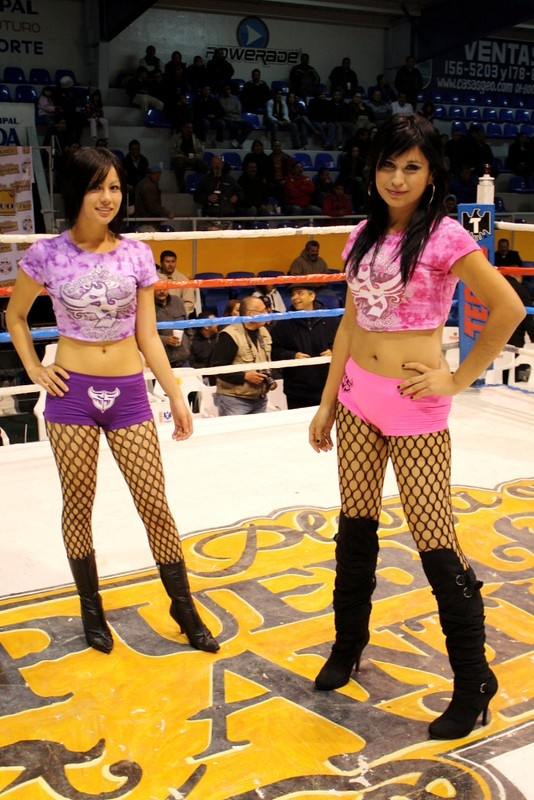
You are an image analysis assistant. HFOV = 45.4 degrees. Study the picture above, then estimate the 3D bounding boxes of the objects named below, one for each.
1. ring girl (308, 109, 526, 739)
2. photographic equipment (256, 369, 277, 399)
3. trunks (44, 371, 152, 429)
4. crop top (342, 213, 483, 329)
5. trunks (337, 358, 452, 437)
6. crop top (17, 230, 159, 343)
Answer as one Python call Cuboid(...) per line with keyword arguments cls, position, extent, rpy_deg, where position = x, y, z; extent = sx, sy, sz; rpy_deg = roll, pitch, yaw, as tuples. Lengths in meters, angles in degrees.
Cuboid(cls="ring girl", position=(0.319, 0.091, 1.409), extent=(0.192, 1.355, 0.463), rpy_deg=(-8, 11, -39))
Cuboid(cls="photographic equipment", position=(-0.047, -0.122, 4.574), extent=(0.093, 0.194, 0.236), rpy_deg=(-3, -1, 35))
Cuboid(cls="trunks", position=(-0.409, 0.004, 1.722), extent=(0.301, 0.146, 0.141), rpy_deg=(0, -2, 13))
Cuboid(cls="crop top", position=(0.291, -0.257, 1.322), extent=(0.294, 0.232, 0.152), rpy_deg=(3, 9, 23))
Cuboid(cls="trunks", position=(0.296, -0.006, 1.441), extent=(0.187, 0.152, 0.316), rpy_deg=(-2, 12, -34))
Cuboid(cls="crop top", position=(-0.462, -0.304, 1.654), extent=(0.384, 0.247, 0.144), rpy_deg=(-7, 29, -37))
